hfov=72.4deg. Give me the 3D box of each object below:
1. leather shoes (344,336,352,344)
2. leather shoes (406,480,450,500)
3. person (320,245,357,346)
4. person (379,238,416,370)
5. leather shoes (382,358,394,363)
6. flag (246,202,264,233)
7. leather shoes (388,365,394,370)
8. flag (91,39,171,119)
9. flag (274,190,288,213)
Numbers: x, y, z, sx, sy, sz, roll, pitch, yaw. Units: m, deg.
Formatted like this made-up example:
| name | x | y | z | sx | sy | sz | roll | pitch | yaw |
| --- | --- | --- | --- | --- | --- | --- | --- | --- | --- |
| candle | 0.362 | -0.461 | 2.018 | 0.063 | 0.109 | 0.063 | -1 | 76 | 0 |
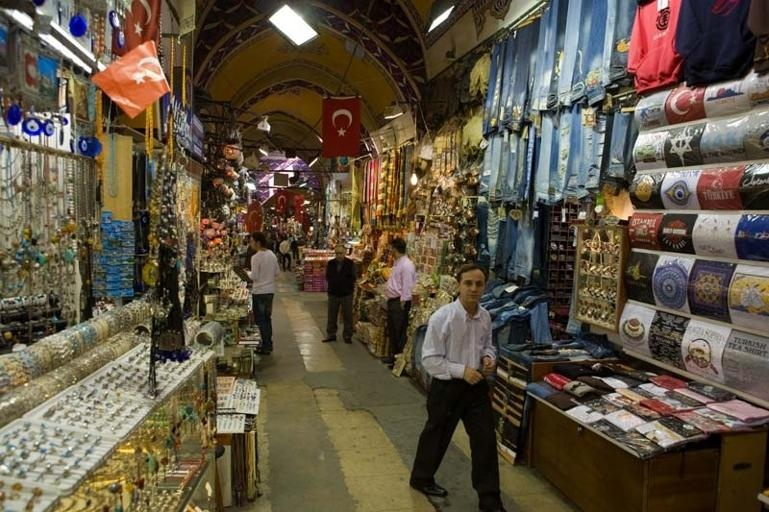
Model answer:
| name | x | y | z | sx | sy | sz | roll | pitch | yaw |
| --- | --- | --- | --- | --- | --- | --- | --- | --- | --- |
| leather shoes | -0.611 | 1.434 | 8.916 | 0.112 | 0.101 | 0.106 | -2 | 6 | 15 |
| leather shoes | 0.375 | 1.919 | 4.341 | 0.290 | 0.119 | 0.118 | 1 | 0 | 10 |
| person | -0.750 | 0.639 | 8.863 | 0.501 | 1.686 | 0.565 | 1 | 7 | -5 |
| person | 0.207 | 0.684 | 7.746 | 0.641 | 1.634 | 0.600 | 0 | 1 | -1 |
| leather shoes | 0.054 | 1.552 | 7.755 | 0.079 | 0.046 | 0.130 | -2 | -4 | 32 |
| flag | -2.932 | -0.892 | 11.942 | 0.319 | 0.719 | 0.419 | -1 | 8 | -22 |
| leather shoes | 0.098 | 1.599 | 7.550 | 0.068 | 0.027 | 0.200 | 3 | 7 | 5 |
| flag | -1.496 | -1.009 | 3.221 | 0.339 | 0.555 | 0.317 | 11 | 5 | 10 |
| flag | -4.272 | -2.252 | 22.061 | 0.471 | 1.003 | 1.766 | 0 | 7 | -11 |
